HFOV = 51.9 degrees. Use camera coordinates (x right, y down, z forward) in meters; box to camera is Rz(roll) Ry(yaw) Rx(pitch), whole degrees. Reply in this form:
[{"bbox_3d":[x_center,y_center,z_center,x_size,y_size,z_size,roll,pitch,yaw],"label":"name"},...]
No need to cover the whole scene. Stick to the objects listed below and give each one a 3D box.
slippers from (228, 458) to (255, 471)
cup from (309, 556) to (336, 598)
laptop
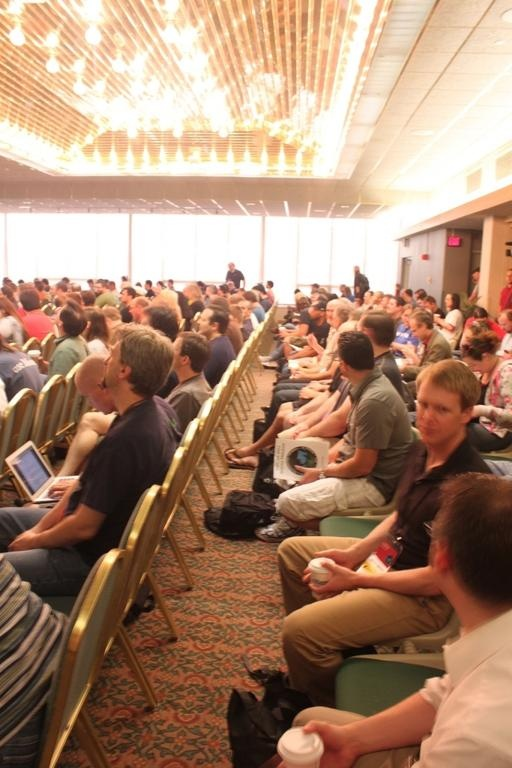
[{"bbox_3d":[-0.109,0.697,4.620,0.104,0.067,0.193,1,-1,42],"label":"slippers"},{"bbox_3d":[0.216,0.648,1.782,0.105,0.113,0.091,2,2,-5],"label":"cup"},{"bbox_3d":[-1.116,0.458,2.678,0.363,0.255,0.413,-1,19,2],"label":"laptop"}]
